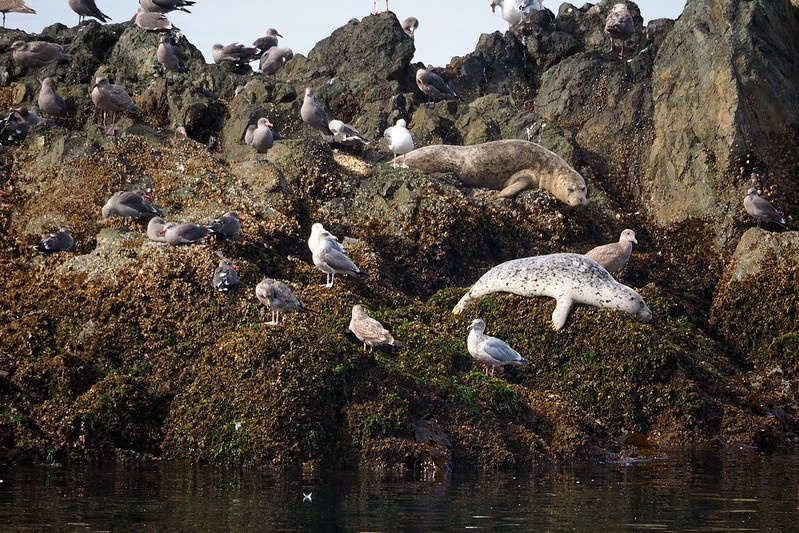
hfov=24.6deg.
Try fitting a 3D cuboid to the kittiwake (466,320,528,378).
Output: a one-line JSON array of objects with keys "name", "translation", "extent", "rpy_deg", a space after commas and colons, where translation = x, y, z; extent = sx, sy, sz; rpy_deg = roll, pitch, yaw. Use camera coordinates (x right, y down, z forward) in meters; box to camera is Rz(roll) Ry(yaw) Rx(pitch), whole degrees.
[{"name": "kittiwake", "translation": [2.018, 1.641, 38.178], "extent": [1.442, 1.115, 0.813], "rpy_deg": [2, 11, -20]}]

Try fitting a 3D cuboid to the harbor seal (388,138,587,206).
[{"name": "harbor seal", "translation": [2.494, -2.314, 45.069], "extent": [4.187, 1.817, 0.693], "rpy_deg": [-2, -15, 2]}]
